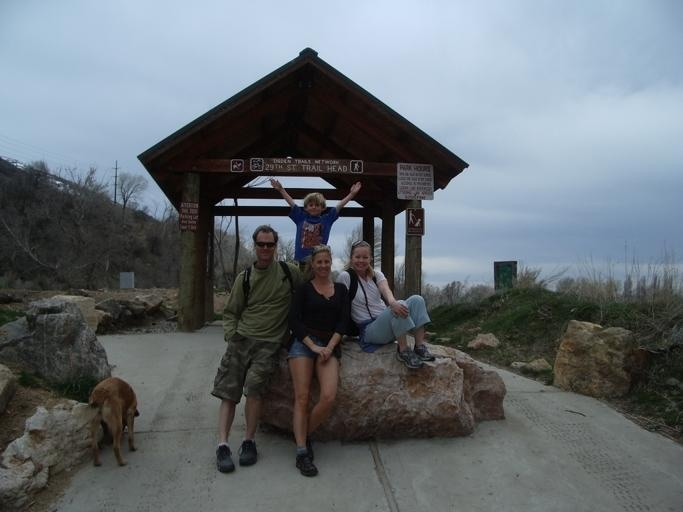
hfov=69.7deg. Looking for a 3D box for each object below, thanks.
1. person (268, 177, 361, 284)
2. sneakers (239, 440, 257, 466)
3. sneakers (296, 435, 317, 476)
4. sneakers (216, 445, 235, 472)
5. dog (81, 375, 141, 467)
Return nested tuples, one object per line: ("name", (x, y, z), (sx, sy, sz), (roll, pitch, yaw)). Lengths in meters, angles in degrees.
("person", (-0.474, -0.117, 7.546), (1.418, 2.226, 0.433), (2, -27, 3))
("sneakers", (-1.030, 2.160, 5.413), (0.203, 0.226, 0.207), (-3, 13, -14))
("sneakers", (-0.388, 2.195, 5.380), (0.229, 0.217, 0.423), (-1, 14, -7))
("sneakers", (-1.250, 2.191, 5.292), (0.182, 0.214, 0.226), (-2, 13, -13))
("dog", (-2.617, 1.899, 5.697), (0.355, 0.922, 1.300), (-5, -14, -9))
